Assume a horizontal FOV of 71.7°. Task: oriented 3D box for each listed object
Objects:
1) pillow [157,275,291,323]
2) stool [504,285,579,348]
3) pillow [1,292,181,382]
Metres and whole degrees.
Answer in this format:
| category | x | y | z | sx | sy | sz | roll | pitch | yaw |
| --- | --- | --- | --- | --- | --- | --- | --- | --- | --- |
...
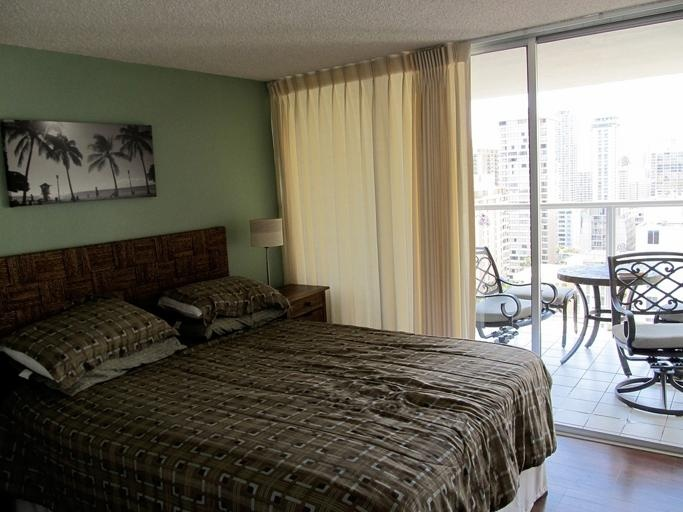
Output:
| category | x | y | z | sx | sy | sz | roll | pitch | yaw |
| --- | --- | --- | --- | --- | --- | --- | --- | --- | --- |
| pillow | -1.207 | 0.339 | 4.097 | 1.126 | 0.200 | 0.991 | 5 | 8 | 26 |
| stool | 1.781 | 0.506 | 4.410 | 0.783 | 0.478 | 0.526 | 10 | 22 | 37 |
| pillow | -1.793 | 0.478 | 3.118 | 0.615 | 0.156 | 0.605 | 16 | 21 | 23 |
